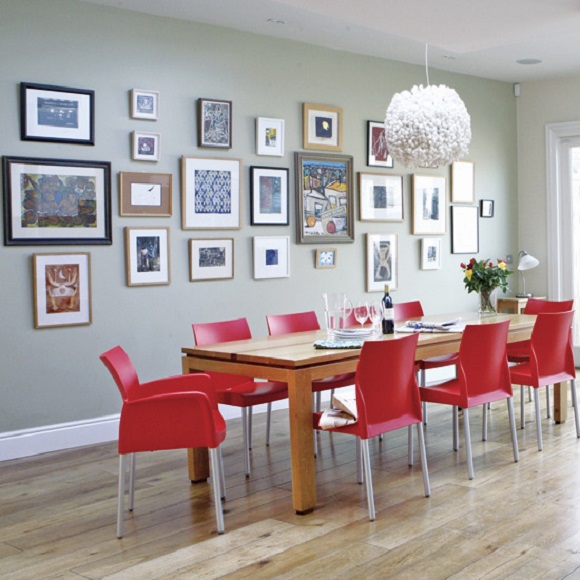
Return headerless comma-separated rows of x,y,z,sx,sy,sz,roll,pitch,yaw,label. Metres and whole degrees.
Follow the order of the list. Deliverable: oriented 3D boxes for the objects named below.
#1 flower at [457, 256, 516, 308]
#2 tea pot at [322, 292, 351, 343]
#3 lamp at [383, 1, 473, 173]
1.486,-0.079,4.075,0.420,0.522,0.493,-3,0,23,flower
0.250,0.142,3.080,0.243,0.334,0.170,1,2,21,tea pot
0.794,-1.135,3.559,0.526,1.144,0.537,-2,0,-18,lamp
